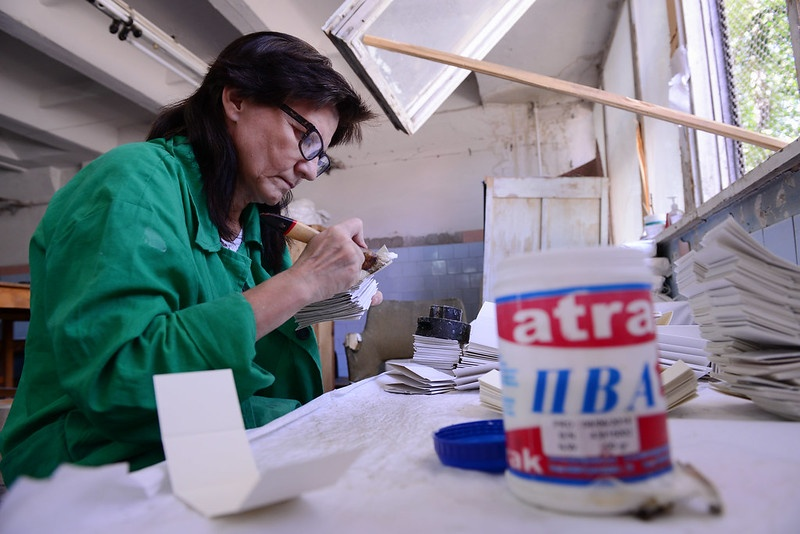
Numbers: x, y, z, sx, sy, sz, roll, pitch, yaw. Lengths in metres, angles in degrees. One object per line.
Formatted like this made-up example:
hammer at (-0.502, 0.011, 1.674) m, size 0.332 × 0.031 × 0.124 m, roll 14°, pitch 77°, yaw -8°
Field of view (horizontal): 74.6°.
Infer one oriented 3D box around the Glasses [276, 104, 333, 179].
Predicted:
Glasses at (-0.275, -0.382, 1.588) m, size 0.049 × 0.158 × 0.150 m, roll -27°, pitch -21°, yaw -9°

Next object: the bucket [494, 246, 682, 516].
bucket at (0.250, 0.157, 0.735) m, size 0.213 × 0.313 × 0.201 m, roll -2°, pitch -12°, yaw 0°

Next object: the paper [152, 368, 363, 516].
paper at (-0.226, 0.245, 0.675) m, size 0.153 × 0.141 × 0.230 m, roll 0°, pitch 7°, yaw -37°
